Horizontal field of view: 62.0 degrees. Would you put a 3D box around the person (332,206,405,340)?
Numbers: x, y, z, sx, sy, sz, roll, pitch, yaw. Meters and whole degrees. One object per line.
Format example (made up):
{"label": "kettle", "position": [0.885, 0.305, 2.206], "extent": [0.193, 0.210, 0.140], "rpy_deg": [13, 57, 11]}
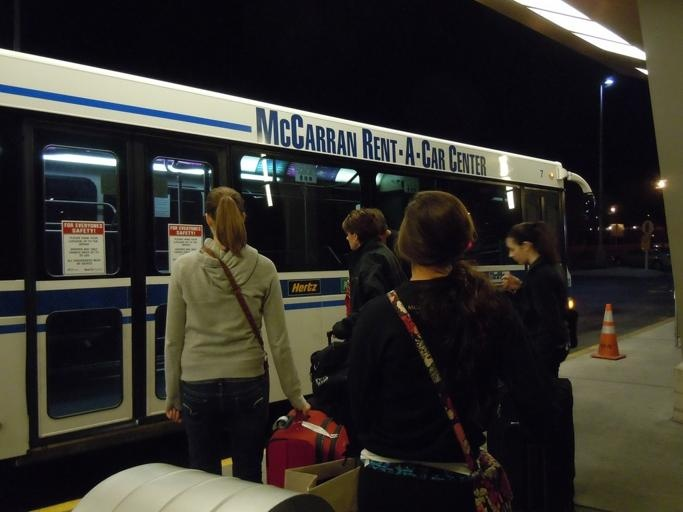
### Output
{"label": "person", "position": [0.246, 0.070, 5.190], "extent": [0.584, 1.328, 0.614], "rpy_deg": [3, 10, 6]}

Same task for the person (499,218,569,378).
{"label": "person", "position": [1.766, 0.748, 5.112], "extent": [0.591, 2.094, 0.619], "rpy_deg": [-3, 5, 22]}

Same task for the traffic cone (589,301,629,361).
{"label": "traffic cone", "position": [4.883, 1.420, 10.384], "extent": [0.583, 1.175, 0.579], "rpy_deg": [-1, -1, 45]}

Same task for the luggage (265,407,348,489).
{"label": "luggage", "position": [-0.251, 1.442, 4.686], "extent": [0.613, 0.760, 0.501], "rpy_deg": [0, 7, 4]}
